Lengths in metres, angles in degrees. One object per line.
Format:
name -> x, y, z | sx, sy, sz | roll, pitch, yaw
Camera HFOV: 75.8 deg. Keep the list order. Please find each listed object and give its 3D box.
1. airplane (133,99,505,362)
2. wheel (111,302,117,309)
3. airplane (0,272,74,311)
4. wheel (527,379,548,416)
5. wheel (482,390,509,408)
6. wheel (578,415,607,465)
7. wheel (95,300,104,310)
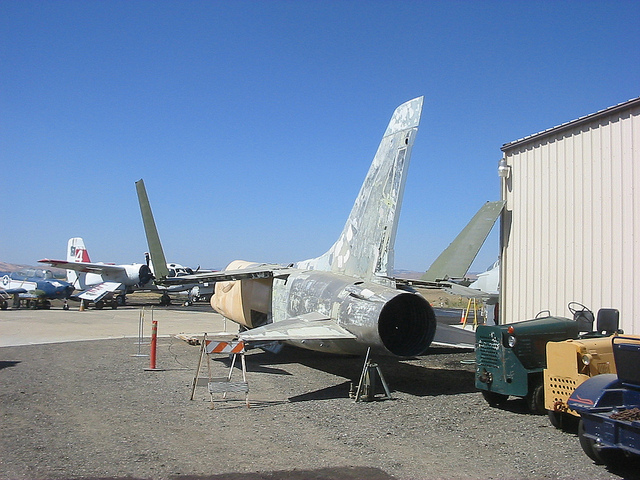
airplane -> -0.011, 0.899, 12.275 | 8.226, 4.874, 10.205 | 4, -2, -27
wheel -> -16.578, 5.260, 33.112 | 0.344, 0.477, 0.764 | 5, -8, -26
airplane -> -22.965, 3.948, 32.634 | 7.621, 2.828, 3.650 | -4, -8, 36
wheel -> 3.691, 2.640, 6.969 | 0.314, 0.778, 0.860 | -4, -12, 30
wheel -> 3.283, 2.958, 7.725 | 0.429, 0.319, 0.335 | -1, -7, 19
wheel -> 3.313, 2.457, 5.055 | 0.414, 0.625, 0.260 | 7, -9, -38
wheel -> -17.088, 4.995, 31.816 | 0.383, 0.668, 0.614 | 6, -9, -36
